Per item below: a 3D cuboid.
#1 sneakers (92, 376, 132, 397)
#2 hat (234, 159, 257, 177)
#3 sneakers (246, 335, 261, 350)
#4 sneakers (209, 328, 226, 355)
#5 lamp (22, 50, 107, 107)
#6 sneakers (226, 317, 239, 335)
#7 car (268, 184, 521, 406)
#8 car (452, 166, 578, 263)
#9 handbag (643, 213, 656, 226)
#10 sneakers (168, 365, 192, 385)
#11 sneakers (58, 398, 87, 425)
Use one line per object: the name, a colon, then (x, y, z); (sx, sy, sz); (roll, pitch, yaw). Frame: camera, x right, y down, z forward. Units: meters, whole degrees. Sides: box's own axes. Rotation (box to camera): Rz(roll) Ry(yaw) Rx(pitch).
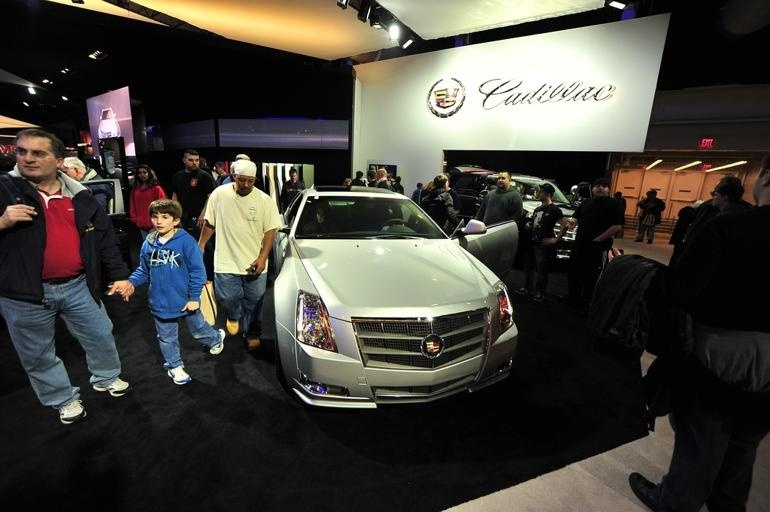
sneakers: (-2.787, 1.362, 4.446); (0.388, 0.171, 0.173); (4, 39, -8)
hat: (-1.564, -0.967, 4.790); (0.187, 0.187, 0.244); (1, 27, -23)
sneakers: (-1.602, 1.054, 5.180); (0.155, 0.139, 0.152); (0, 6, -25)
sneakers: (-1.972, 1.014, 5.108); (0.123, 0.149, 0.335); (0, 19, 7)
lamp: (-9.172, -5.314, 12.479); (2.277, 0.516, 2.057); (-4, 7, -18)
sneakers: (-1.899, 0.899, 5.382); (0.128, 0.142, 0.245); (0, 4, -39)
car: (-0.082, 0.485, 4.738); (1.879, 1.012, 2.883); (-3, 19, -12)
car: (3.052, -1.280, 10.544); (3.161, 1.669, 1.638); (-4, 6, -11)
handbag: (7.361, -0.998, 11.962); (0.189, 0.307, 0.290); (14, 15, 26)
sneakers: (-2.227, 1.296, 4.628); (0.299, 0.125, 0.141); (2, 4, 45)
sneakers: (-3.040, 1.531, 4.152); (0.322, 0.132, 0.149); (-9, -3, 39)
